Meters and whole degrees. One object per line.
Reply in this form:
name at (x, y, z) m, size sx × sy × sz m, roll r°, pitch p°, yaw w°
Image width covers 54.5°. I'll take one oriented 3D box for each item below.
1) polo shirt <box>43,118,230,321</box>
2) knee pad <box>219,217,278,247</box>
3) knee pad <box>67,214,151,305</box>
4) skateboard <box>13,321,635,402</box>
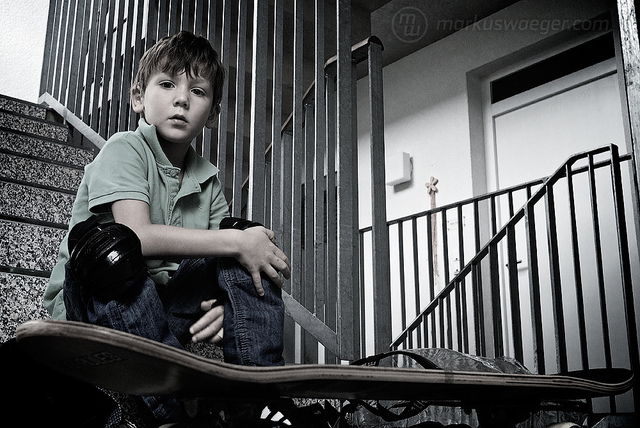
polo shirt at (-0.544, 0.003, 2.024) m, size 0.400 × 0.628 × 0.456 m, roll -15°, pitch -26°, yaw 43°
knee pad at (-0.227, 0.055, 1.926) m, size 0.197 × 0.126 × 0.128 m, roll 3°, pitch -1°, yaw -23°
knee pad at (-0.581, 0.133, 1.767) m, size 0.239 × 0.231 × 0.194 m, roll -23°, pitch -4°, yaw 30°
skateboard at (0.013, 0.421, 1.687) m, size 1.538 × 0.186 × 0.221 m, roll 6°, pitch -11°, yaw -12°
